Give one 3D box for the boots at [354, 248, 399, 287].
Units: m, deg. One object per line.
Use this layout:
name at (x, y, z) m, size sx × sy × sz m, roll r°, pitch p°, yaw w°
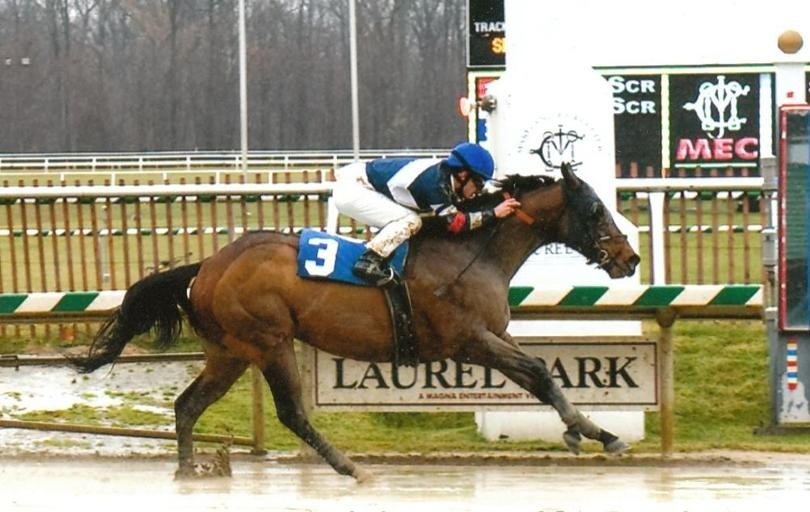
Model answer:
boots at (-0.379, 0.184, 25.915) m, size 0.561 × 0.396 × 0.234 m, roll 29°, pitch -5°, yaw 2°
